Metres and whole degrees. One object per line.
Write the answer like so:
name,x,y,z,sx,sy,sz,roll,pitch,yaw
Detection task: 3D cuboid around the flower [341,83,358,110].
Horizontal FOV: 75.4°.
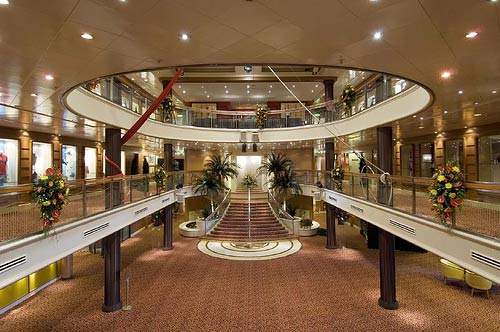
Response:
flower,4.670,-3.229,15.243,0.594,1.068,0.674,0,7,6

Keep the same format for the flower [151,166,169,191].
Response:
flower,-4.421,0.689,16.120,0.640,1.201,1.932,-2,7,-14

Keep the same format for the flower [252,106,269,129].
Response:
flower,0.671,-3.106,20.615,0.988,1.343,0.782,-1,39,-20

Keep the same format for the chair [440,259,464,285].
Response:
chair,8.812,4.660,14.090,0.887,1.056,0.976,3,8,30

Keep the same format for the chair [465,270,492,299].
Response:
chair,9.397,4.819,13.333,0.962,1.009,0.756,-4,8,-30

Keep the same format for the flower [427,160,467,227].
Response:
flower,5.512,0.737,9.078,1.105,1.622,0.686,3,-5,32
